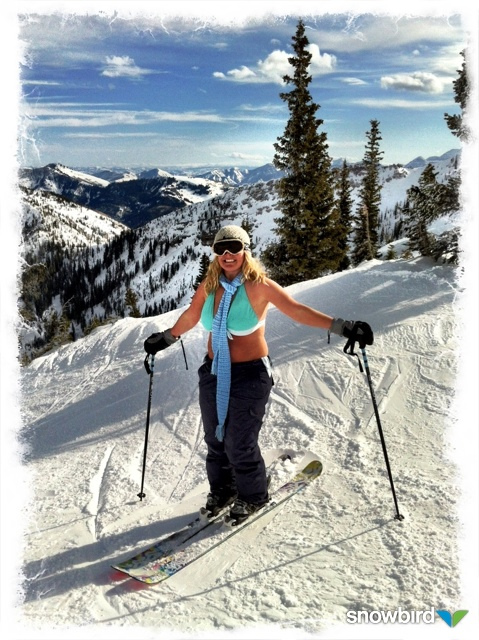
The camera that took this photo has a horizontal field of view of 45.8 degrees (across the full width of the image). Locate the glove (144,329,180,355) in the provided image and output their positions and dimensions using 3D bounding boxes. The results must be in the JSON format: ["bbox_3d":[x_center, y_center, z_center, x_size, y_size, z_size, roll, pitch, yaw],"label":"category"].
[{"bbox_3d":[-0.942,0.253,6.718,0.397,0.241,0.164,-24,-38,21],"label":"glove"}]

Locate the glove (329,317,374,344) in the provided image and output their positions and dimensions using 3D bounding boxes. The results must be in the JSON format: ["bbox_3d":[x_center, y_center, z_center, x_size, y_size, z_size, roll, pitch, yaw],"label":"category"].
[{"bbox_3d":[1.159,0.102,5.879,0.367,0.153,0.282,21,8,5],"label":"glove"}]
